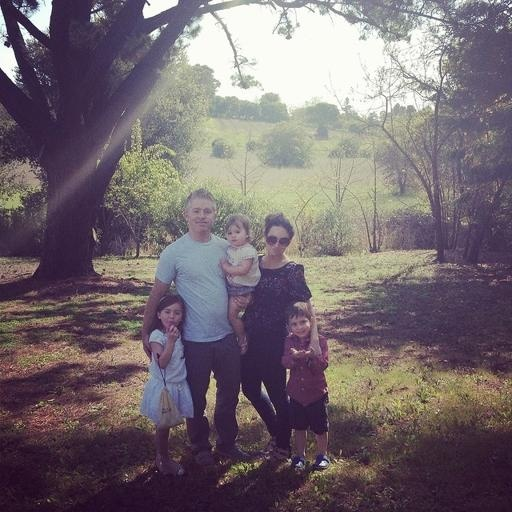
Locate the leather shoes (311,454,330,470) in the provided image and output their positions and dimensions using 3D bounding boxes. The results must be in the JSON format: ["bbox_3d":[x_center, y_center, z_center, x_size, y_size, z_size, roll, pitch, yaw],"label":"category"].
[{"bbox_3d":[0.563,1.807,4.376,0.083,0.088,0.168,-1,-3,4],"label":"leather shoes"}]

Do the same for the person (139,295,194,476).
[{"bbox_3d":[-0.755,1.104,4.211,0.428,1.559,0.275,-1,8,-16],"label":"person"}]

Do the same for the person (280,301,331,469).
[{"bbox_3d":[0.435,1.113,4.332,0.430,1.433,0.254,1,8,-3],"label":"person"}]
